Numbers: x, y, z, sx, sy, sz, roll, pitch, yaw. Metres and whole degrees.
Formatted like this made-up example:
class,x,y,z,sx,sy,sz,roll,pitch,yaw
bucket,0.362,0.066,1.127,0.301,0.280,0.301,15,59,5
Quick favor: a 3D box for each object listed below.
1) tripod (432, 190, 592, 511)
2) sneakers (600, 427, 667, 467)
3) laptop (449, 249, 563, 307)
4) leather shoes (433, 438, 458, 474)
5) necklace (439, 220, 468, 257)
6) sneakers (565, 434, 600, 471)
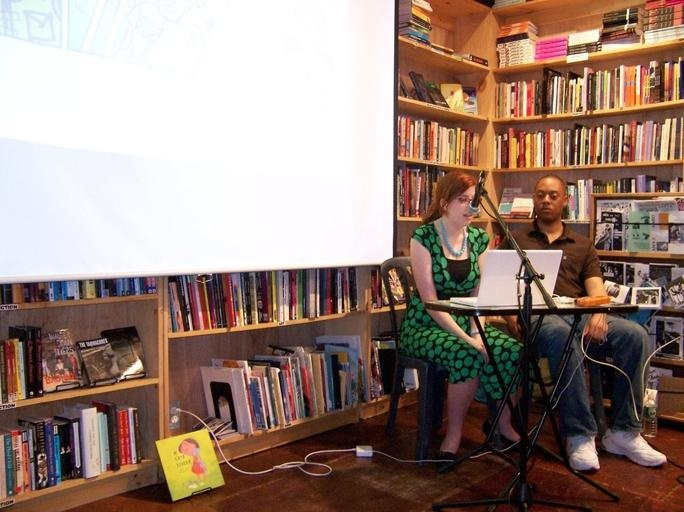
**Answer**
class,x,y,z,sx,sy,sz,roll,pitch,yaw
tripod,0.811,0.385,2.389,0.697,1.394,0.875,1,4,26
sneakers,1.487,0.981,2.731,0.113,0.156,0.322,0,-1,-41
laptop,0.675,0.081,2.211,0.317,0.201,0.266,2,-2,-20
leather shoes,0.511,0.997,2.614,0.046,0.175,0.058,27,-24,-37
necklace,0.586,-0.094,2.816,0.136,0.212,0.044,-15,-5,-32
sneakers,1.192,0.974,2.581,0.101,0.127,0.273,1,-11,-1
